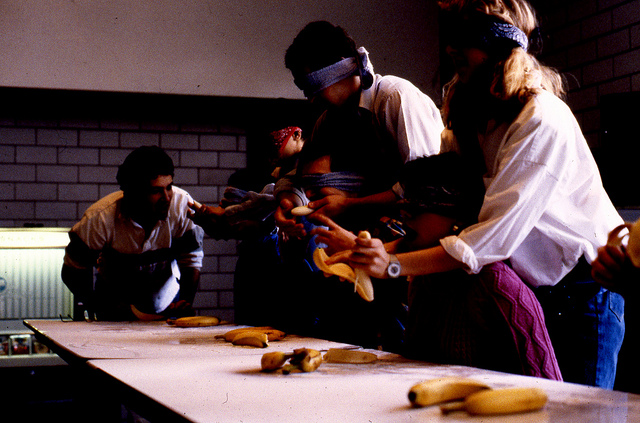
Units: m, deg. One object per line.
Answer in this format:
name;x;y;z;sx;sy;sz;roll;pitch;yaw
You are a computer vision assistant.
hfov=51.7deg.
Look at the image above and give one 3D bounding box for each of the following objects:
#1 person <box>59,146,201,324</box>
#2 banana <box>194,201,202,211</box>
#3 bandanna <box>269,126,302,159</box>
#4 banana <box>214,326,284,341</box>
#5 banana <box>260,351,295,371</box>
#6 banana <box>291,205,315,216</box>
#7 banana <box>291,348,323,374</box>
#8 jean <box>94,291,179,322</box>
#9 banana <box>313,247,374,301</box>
person;-1.180;0.146;4.113;0.866;1.074;0.443;-4;8;-12
banana;-0.739;-0.032;3.992;0.032;0.044;0.043;7;-26;-17
bandanna;-0.195;-0.385;3.699;0.182;0.170;0.140;-2;-5;1
banana;-0.305;0.556;3.033;0.195;0.046;0.123;-5;-5;-21
banana;-0.170;0.554;2.501;0.093;0.041;0.073;-15;1;-5
banana;-0.088;-0.002;3.174;0.084;0.027;0.048;-3;-18;-10
banana;-0.042;0.561;2.476;0.088;0.037;0.089;2;42;16
jean;-1.185;0.573;4.213;0.464;0.171;0.404;-2;4;-38
banana;0.089;0.255;2.660;0.221;0.213;0.110;2;9;30
